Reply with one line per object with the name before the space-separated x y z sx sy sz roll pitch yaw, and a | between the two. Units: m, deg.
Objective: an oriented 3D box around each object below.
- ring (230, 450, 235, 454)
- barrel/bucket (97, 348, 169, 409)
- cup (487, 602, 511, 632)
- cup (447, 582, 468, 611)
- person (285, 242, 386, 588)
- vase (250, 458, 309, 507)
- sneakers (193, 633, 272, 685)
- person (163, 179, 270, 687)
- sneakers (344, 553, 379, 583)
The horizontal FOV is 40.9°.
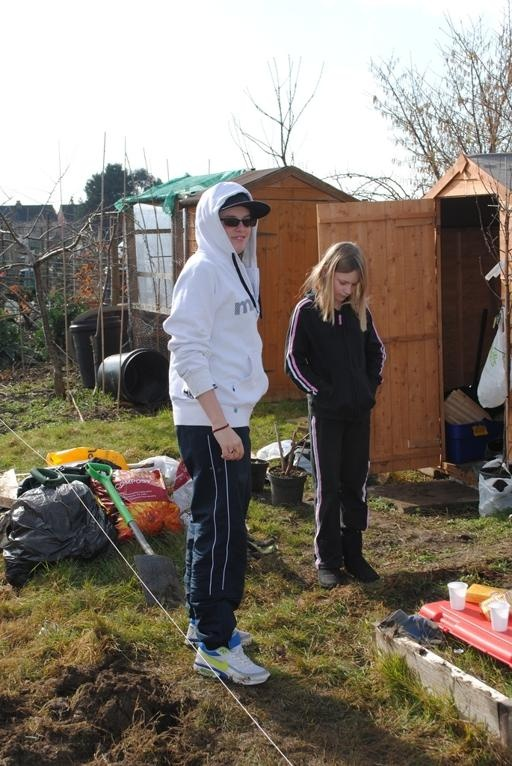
ring | -0.078 0.230 2.332 0.012 0.015 0.005 -1 6 -4
barrel/bucket | -1.555 -0.090 8.956 0.874 0.753 1.041 1 6 -19
cup | 0.955 0.915 2.730 0.111 0.105 0.109 -2 3 0
cup | 0.845 0.914 2.950 0.105 0.100 0.100 0 -3 0
person | 0.413 0.168 3.603 0.541 1.791 0.357 3 6 -1
vase | 0.197 0.749 5.249 0.361 0.234 0.388 1 0 -24
sneakers | -0.059 1.031 2.655 0.359 0.213 0.118 8 8 1
person | -0.123 0.183 2.567 0.452 1.923 0.504 3 6 1
sneakers | 0.555 0.981 3.672 0.080 0.082 0.211 -10 7 -27
